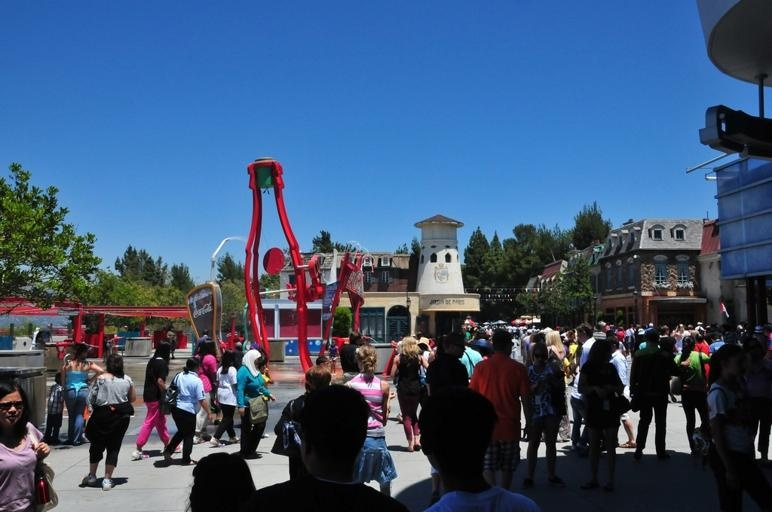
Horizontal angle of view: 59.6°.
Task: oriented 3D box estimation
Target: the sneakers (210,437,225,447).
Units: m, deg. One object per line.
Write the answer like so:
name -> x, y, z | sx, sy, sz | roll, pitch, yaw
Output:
sneakers -> -3.470, 3.783, 13.650 | 0.439, 0.192, 0.154 | -14, -14, 40

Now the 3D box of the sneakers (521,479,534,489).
sneakers -> 2.329, 3.676, 10.874 | 0.207, 0.161, 0.149 | 1, -8, -11

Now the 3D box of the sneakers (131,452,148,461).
sneakers -> -4.639, 3.766, 12.747 | 0.130, 0.182, 0.375 | 2, -2, 29

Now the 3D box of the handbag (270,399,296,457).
handbag -> -1.435, 2.426, 9.415 | 0.273, 0.797, 0.731 | 0, -8, -9

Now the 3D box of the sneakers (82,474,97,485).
sneakers -> -4.937, 3.747, 11.206 | 0.125, 0.143, 0.298 | 6, -5, -7

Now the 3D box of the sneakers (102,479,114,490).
sneakers -> -4.561, 3.740, 11.016 | 0.148, 0.191, 0.216 | 3, -9, -25

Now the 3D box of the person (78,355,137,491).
person -> -4.684, 2.769, 11.369 | 0.752, 2.190, 0.700 | 4, -9, -31

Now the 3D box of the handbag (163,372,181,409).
handbag -> -3.857, 2.445, 12.156 | 0.272, 0.625, 0.408 | 2, -8, -17

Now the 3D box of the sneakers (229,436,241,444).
sneakers -> -3.176, 3.867, 14.116 | 0.107, 0.105, 0.227 | 4, -10, -45

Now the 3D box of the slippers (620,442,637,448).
slippers -> 4.757, 3.722, 13.212 | 0.131, 0.094, 0.352 | -3, -16, 3
